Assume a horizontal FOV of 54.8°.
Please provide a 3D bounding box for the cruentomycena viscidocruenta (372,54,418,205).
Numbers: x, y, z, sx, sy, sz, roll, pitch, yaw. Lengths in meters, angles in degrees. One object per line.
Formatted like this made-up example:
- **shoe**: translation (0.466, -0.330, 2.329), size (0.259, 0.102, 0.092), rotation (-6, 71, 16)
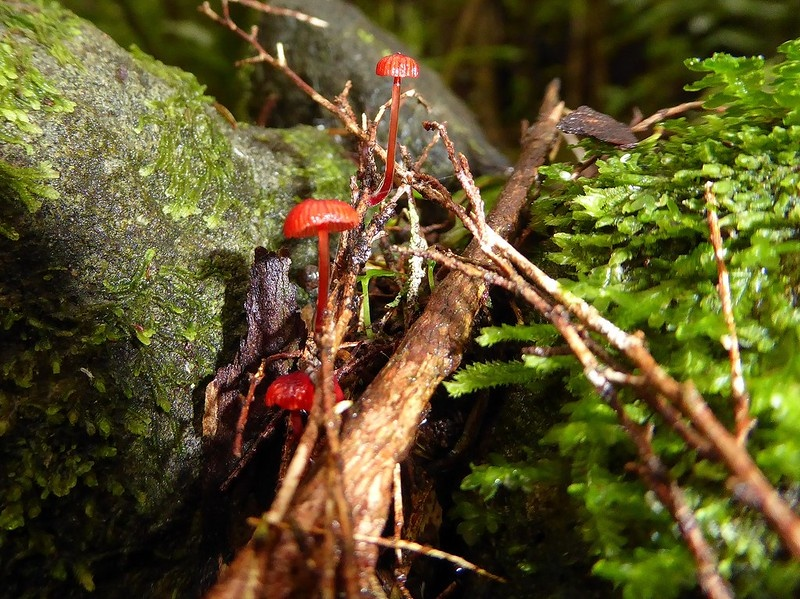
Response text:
- **cruentomycena viscidocruenta**: translation (-0.043, -0.876, 3.971), size (0.200, 0.750, 0.245), rotation (3, 16, -16)

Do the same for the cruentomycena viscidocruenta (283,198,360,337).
- **cruentomycena viscidocruenta**: translation (-0.425, -0.201, 3.551), size (0.329, 0.614, 0.362), rotation (11, 17, 33)
